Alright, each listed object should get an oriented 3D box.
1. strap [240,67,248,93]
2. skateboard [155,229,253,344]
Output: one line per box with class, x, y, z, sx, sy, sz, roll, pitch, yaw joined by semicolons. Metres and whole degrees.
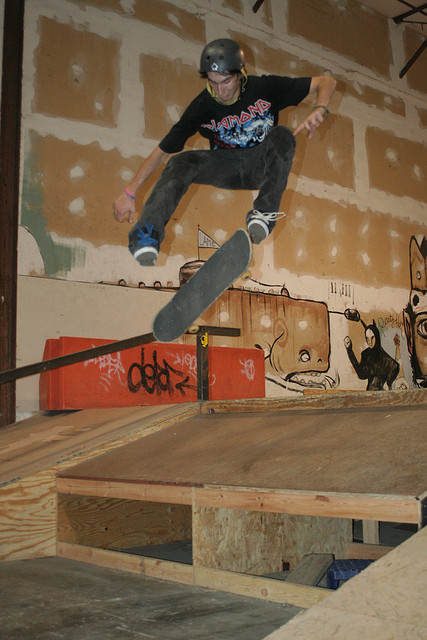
strap;0.152;-1.212;3.143;0.016;0.064;0.049;10;2;13
skateboard;-0.013;-0.058;2.436;0.119;0.699;0.191;4;49;-42
